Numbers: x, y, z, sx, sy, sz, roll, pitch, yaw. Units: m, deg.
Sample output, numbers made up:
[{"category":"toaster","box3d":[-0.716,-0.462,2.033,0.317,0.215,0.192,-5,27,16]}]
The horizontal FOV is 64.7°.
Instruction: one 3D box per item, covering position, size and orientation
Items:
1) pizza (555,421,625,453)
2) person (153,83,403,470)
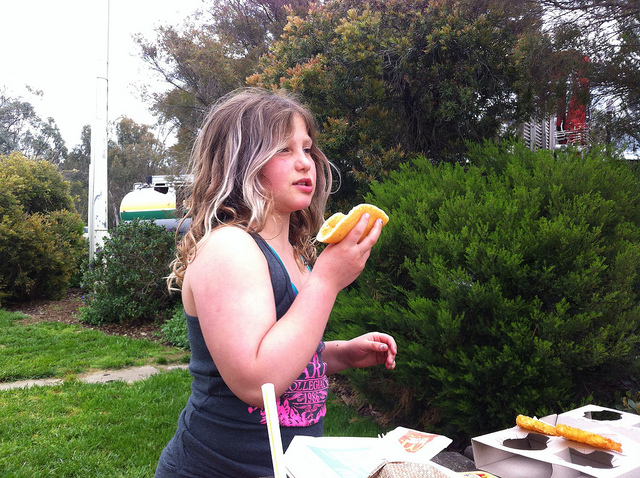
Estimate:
[{"category":"pizza","box3d":[1.247,0.915,2.333,0.178,0.051,0.050,15,-5,21]},{"category":"person","box3d":[-0.278,0.164,2.540,1.205,2.047,1.128,-2,3,6]}]
